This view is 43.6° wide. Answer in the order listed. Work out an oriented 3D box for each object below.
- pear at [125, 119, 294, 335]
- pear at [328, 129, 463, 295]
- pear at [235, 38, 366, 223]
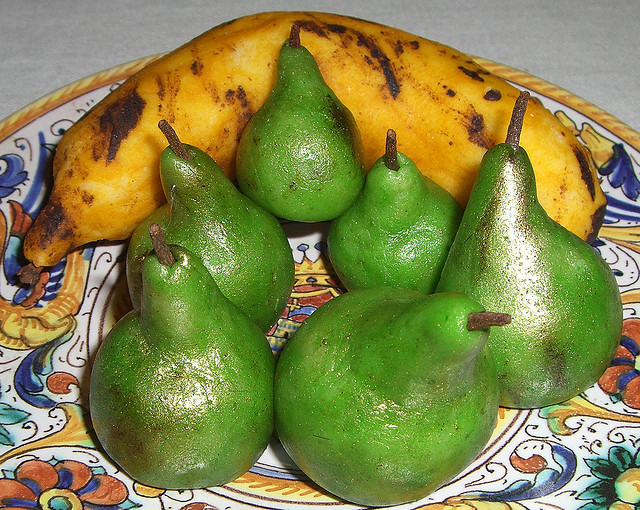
[{"bbox_3d":[-0.143,-0.036,1.037,0.192,0.184,0.269,-19,-68,11],"label":"pear"},{"bbox_3d":[0.118,-0.040,1.135,0.217,0.201,0.267,-6,-47,9],"label":"pear"},{"bbox_3d":[-0.019,-0.176,1.135,0.197,0.186,0.244,-3,-62,0],"label":"pear"}]
